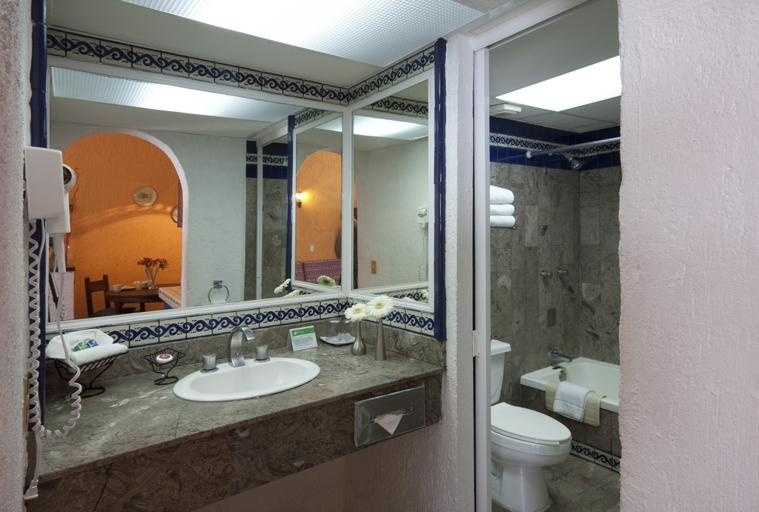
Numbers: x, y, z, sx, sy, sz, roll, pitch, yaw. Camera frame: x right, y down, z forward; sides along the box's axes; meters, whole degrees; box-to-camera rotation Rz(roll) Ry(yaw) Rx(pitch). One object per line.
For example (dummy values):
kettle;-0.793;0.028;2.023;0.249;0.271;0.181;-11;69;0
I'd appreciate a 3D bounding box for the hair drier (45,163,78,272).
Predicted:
hair drier;-1.012;-0.123;1.729;0.102;0.342;0.072;4;-10;-37

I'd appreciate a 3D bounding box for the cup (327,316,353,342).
cup;-0.209;0.400;2.935;0.096;0.123;0.179;1;-1;-35

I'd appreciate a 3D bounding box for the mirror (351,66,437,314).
mirror;0.076;-0.313;2.762;0.129;1.099;0.642;-8;5;-37

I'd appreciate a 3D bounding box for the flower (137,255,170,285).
flower;-1.038;0.059;2.536;0.120;0.124;0.115;-3;-3;-14

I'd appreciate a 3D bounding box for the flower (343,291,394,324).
flower;-0.037;0.249;2.633;0.170;0.059;0.169;-20;15;-14

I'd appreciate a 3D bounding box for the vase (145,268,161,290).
vase;-1.044;0.101;2.528;0.083;0.112;0.082;-1;-1;42

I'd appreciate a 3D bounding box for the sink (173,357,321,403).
sink;-0.553;0.551;2.378;0.622;0.112;0.435;-6;4;-18

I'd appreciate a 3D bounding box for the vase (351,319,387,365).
vase;-0.058;0.387;2.751;0.174;0.188;0.356;-5;4;-1

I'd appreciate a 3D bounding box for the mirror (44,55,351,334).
mirror;-0.887;-0.303;2.568;1.380;1.363;0.057;0;1;-30
